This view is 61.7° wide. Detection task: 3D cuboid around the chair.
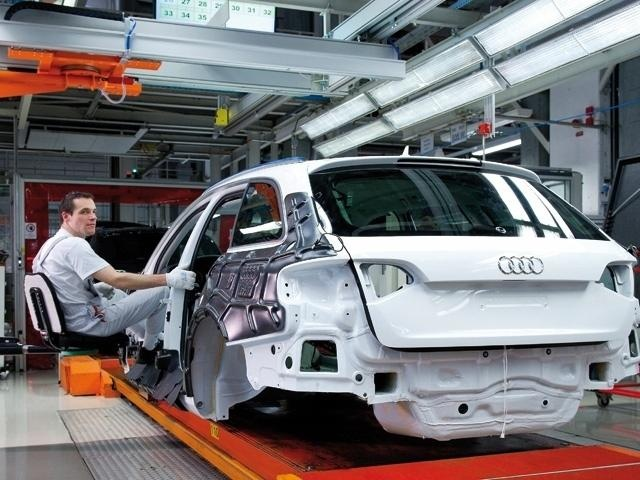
[{"bbox_3d":[-2.167,0.751,5.028,0.952,0.612,0.605,14,-16,-28],"label":"chair"}]
